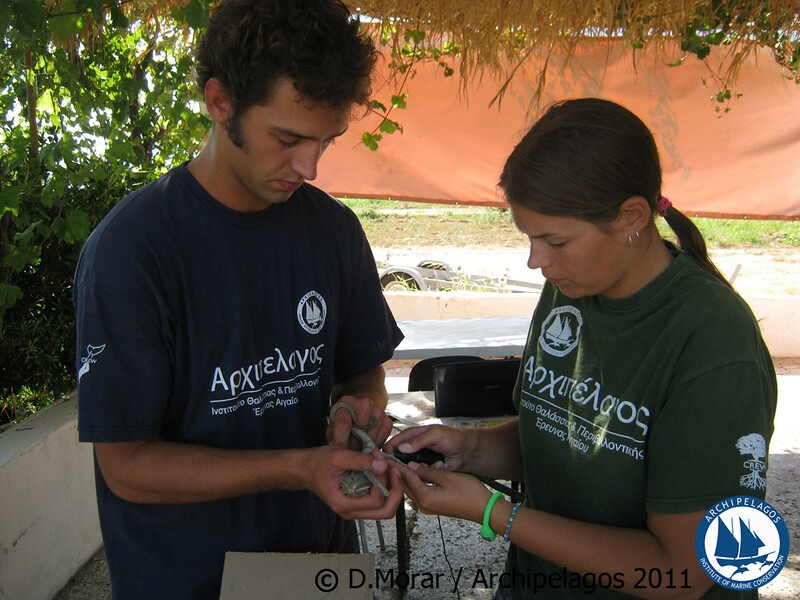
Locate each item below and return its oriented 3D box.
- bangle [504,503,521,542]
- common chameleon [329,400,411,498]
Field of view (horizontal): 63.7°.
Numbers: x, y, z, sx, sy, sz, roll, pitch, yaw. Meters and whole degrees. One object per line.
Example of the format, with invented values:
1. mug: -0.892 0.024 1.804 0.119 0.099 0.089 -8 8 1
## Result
1. bangle: 0.340 0.695 2.000 0.027 0.094 0.086 18 13 27
2. common chameleon: -0.135 0.490 2.115 0.106 0.285 0.152 -33 -16 34
